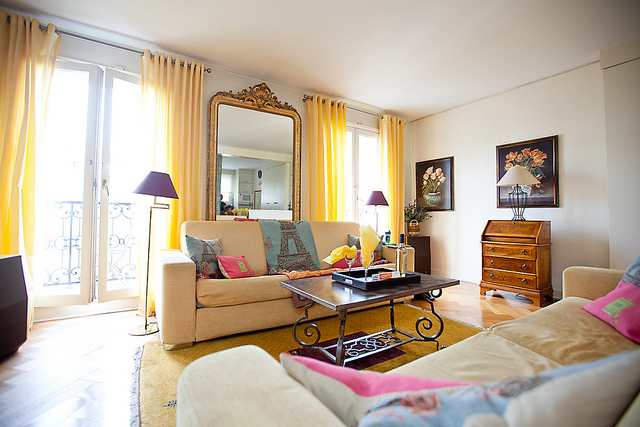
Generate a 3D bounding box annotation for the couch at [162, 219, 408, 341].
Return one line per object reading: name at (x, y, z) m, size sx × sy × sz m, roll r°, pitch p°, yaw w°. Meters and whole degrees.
couch at (-0.301, 0.733, 5.249) m, size 3.378 × 1.287 × 1.176 m, roll 1°, pitch 1°, yaw -33°

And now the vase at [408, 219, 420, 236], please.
vase at (1.602, 0.257, 6.995) m, size 0.231 × 0.324 × 0.228 m, roll -1°, pitch 2°, yaw -26°

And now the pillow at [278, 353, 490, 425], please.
pillow at (0.233, 1.092, 2.578) m, size 0.902 × 0.252 × 0.582 m, roll 0°, pitch 2°, yaw -36°

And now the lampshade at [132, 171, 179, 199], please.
lampshade at (-1.946, -0.336, 4.891) m, size 0.560 × 0.237 × 0.539 m, roll 5°, pitch 0°, yaw -29°

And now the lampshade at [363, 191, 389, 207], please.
lampshade at (0.879, -0.211, 6.373) m, size 0.273 × 0.184 × 0.271 m, roll 2°, pitch -3°, yaw -27°

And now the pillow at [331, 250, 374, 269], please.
pillow at (0.403, 0.604, 5.313) m, size 0.301 × 0.405 × 0.331 m, roll 7°, pitch -8°, yaw -38°

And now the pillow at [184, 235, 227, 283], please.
pillow at (-1.289, 0.510, 4.615) m, size 0.263 × 0.456 × 0.517 m, roll 11°, pitch 0°, yaw 30°

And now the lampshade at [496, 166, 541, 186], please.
lampshade at (2.798, -0.538, 5.756) m, size 0.452 × 0.257 × 0.359 m, roll -1°, pitch 2°, yaw -32°

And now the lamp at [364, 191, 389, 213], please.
lamp at (0.878, -0.199, 6.309) m, size 0.247 × 0.228 × 0.270 m, roll 1°, pitch -2°, yaw -23°

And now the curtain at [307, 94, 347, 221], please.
curtain at (0.061, -0.769, 6.520) m, size 0.746 × 2.085 × 0.206 m, roll 0°, pitch 8°, yaw -20°

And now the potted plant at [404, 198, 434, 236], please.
potted plant at (1.643, 0.120, 7.394) m, size 0.622 × 0.604 × 0.604 m, roll 1°, pitch -3°, yaw -42°
